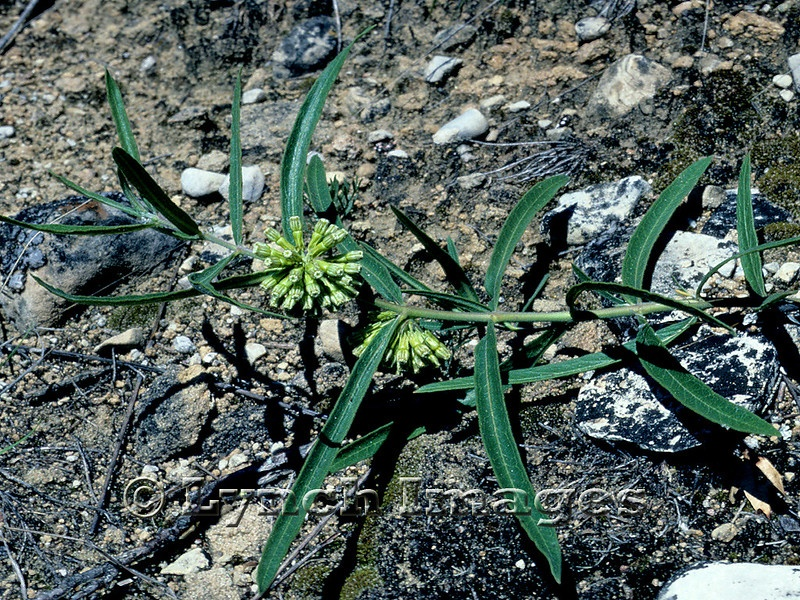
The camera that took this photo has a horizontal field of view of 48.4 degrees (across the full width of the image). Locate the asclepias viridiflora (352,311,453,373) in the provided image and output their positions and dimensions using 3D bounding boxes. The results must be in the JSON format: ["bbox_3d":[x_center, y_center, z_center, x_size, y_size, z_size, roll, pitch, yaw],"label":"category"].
[{"bbox_3d":[0.016,0.193,3.960,0.334,0.125,0.323,16,49,18],"label":"asclepias viridiflora"}]

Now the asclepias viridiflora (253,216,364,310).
[{"bbox_3d":[-0.405,-0.132,3.866,0.457,0.367,0.238,-1,-3,-11],"label":"asclepias viridiflora"}]
